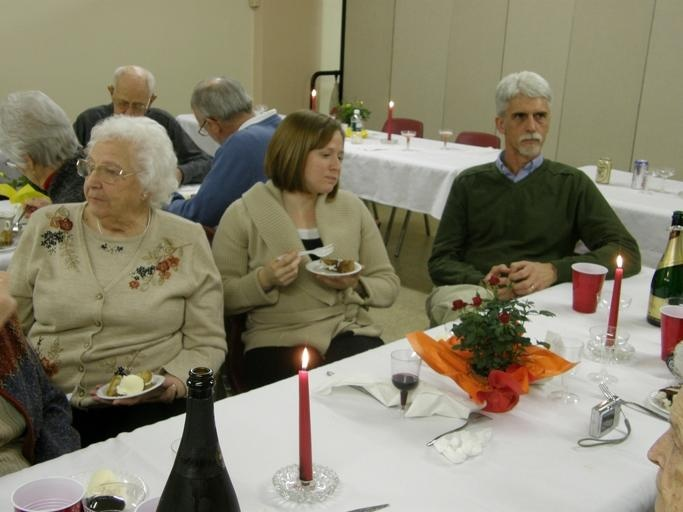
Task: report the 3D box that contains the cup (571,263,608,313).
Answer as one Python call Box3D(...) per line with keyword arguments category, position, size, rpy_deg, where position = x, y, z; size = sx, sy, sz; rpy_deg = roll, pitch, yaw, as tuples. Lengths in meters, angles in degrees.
Box3D(category="cup", position=(0.958, 0.135, 2.049), size=(0.121, 0.153, 0.132), rpy_deg=(5, 0, 0))

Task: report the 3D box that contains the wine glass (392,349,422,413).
Box3D(category="wine glass", position=(0.180, 0.358, 1.469), size=(0.077, 0.186, 0.076), rpy_deg=(2, 6, -13))

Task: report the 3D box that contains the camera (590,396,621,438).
Box3D(category="camera", position=(0.687, 0.417, 1.349), size=(0.092, 0.094, 0.030), rpy_deg=(-10, 16, -32))

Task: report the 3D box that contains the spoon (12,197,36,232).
Box3D(category="spoon", position=(-1.673, -0.214, 2.705), size=(0.092, 0.221, 0.083), rpy_deg=(10, 0, 33))

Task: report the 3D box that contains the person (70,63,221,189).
Box3D(category="person", position=(-1.694, -0.960, 4.185), size=(1.230, 0.991, 0.786), rpy_deg=(4, 30, -22))

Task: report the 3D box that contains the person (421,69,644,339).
Box3D(category="person", position=(0.872, -0.143, 2.754), size=(1.006, 1.592, 0.937), rpy_deg=(-9, 21, -15))

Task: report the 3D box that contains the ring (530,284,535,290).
Box3D(category="ring", position=(0.877, 0.144, 2.374), size=(0.019, 0.020, 0.004), rpy_deg=(-22, -8, -44))

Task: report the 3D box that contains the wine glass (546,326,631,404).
Box3D(category="wine glass", position=(0.709, 0.281, 1.579), size=(0.209, 0.074, 0.203), rpy_deg=(-2, 24, -1))

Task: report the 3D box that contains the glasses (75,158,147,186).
Box3D(category="glasses", position=(-0.857, -0.288, 1.853), size=(0.140, 0.051, 0.154), rpy_deg=(18, 3, 24))

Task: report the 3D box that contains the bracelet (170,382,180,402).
Box3D(category="bracelet", position=(-0.588, 0.479, 1.828), size=(0.019, 0.062, 0.041), rpy_deg=(-3, 8, 38))

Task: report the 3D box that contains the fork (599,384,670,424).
Box3D(category="fork", position=(0.807, 0.412, 1.428), size=(0.251, 0.041, 0.050), rpy_deg=(10, 23, -8))

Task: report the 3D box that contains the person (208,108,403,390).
Box3D(category="person", position=(-0.164, 0.153, 2.359), size=(0.760, 1.537, 0.754), rpy_deg=(-1, 16, -16))
